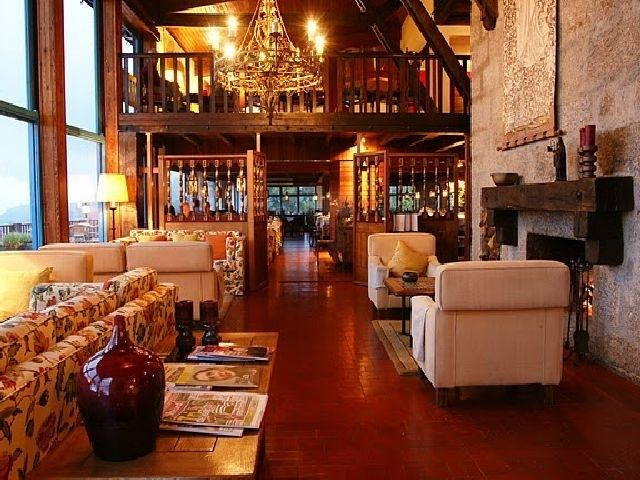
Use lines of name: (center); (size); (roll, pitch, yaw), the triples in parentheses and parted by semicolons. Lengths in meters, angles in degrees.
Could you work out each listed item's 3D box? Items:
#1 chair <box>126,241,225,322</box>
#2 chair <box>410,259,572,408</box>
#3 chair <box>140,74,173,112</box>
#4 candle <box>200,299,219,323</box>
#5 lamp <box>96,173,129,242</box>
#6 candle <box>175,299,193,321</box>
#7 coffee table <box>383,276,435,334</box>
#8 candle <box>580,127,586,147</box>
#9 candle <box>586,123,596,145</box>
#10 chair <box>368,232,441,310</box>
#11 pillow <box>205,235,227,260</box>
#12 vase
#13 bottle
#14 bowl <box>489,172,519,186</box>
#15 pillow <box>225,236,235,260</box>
chair: (-1.583, 0.361, 6.155); (0.793, 0.845, 0.845); (0, 11, -1)
chair: (1.348, 0.647, 4.487); (0.988, 1.101, 1.060); (-1, 4, 2)
chair: (-3.081, -2.790, 10.226); (0.571, 0.912, 1.883); (-3, 8, -15)
candle: (-0.705, 0.463, 3.528); (0.125, 0.159, 0.132); (0, 1, 0)
lamp: (-3.504, -0.551, 9.202); (0.445, 1.136, 0.890); (-3, 8, -18)
candle: (-0.830, 0.446, 3.415); (0.111, 0.139, 0.116); (-1, -4, 31)
coffee table: (0.948, 0.539, 5.794); (0.480, 0.627, 0.927); (0, 3, 1)
candle: (2.290, -0.888, 4.734); (0.045, 0.163, 0.126); (3, 8, 27)
candle: (2.359, -0.910, 4.730); (0.076, 0.162, 0.047); (-1, 7, -2)
chair: (1.075, 0.388, 7.097); (0.902, 1.021, 0.962); (0, 0, 1)
pillow: (-1.459, 0.123, 7.619); (0.268, 0.353, 0.130); (-5, -18, -9)
vase: (-0.889, 0.655, 2.451); (0.358, 0.581, 0.383); (-1, 3, 26)
bottle: (-0.862, 0.641, 2.356); (0.354, 0.605, 0.190); (-5, 8, -27)
bowl: (2.231, -0.729, 6.602); (0.292, 0.156, 0.184); (3, 9, 27)
pillow: (-1.380, 0.123, 8.253); (0.126, 0.309, 0.094); (1, -5, 4)
